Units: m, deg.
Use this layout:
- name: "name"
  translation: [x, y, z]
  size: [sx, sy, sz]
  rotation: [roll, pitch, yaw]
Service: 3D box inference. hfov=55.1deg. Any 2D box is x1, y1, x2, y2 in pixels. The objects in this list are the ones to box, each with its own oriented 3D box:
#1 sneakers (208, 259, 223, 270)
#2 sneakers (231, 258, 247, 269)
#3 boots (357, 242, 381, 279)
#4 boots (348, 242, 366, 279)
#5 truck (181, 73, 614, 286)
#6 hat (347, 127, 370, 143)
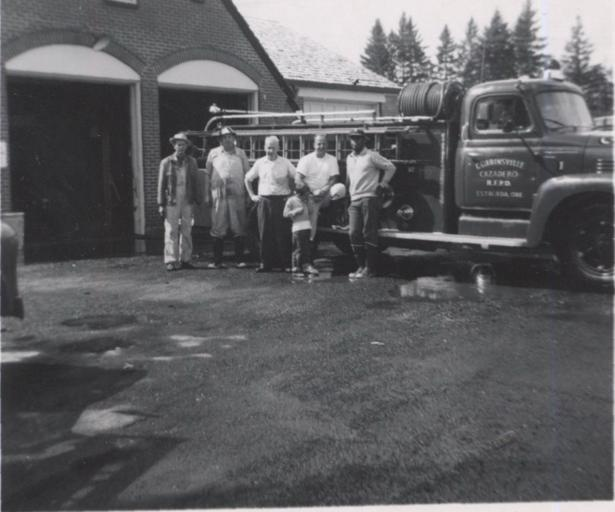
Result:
- name: "sneakers"
  translation: [-1.649, 0.159, 10.431]
  size: [0.218, 0.182, 0.140]
  rotation: [3, 3, 13]
- name: "sneakers"
  translation: [-1.179, 0.131, 10.485]
  size: [0.122, 0.180, 0.366]
  rotation: [0, -4, -15]
- name: "boots"
  translation: [0.913, 0.159, 9.249]
  size: [0.414, 0.654, 0.289]
  rotation: [4, -18, -9]
- name: "boots"
  translation: [0.788, 0.107, 9.568]
  size: [0.213, 0.750, 0.515]
  rotation: [-1, -4, 32]
- name: "truck"
  translation: [1.704, -1.295, 10.151]
  size: [6.514, 3.186, 2.775]
  rotation: [4, 8, 31]
- name: "hat"
  translation: [0.825, -1.829, 9.143]
  size: [0.278, 0.151, 0.315]
  rotation: [12, 0, -26]
